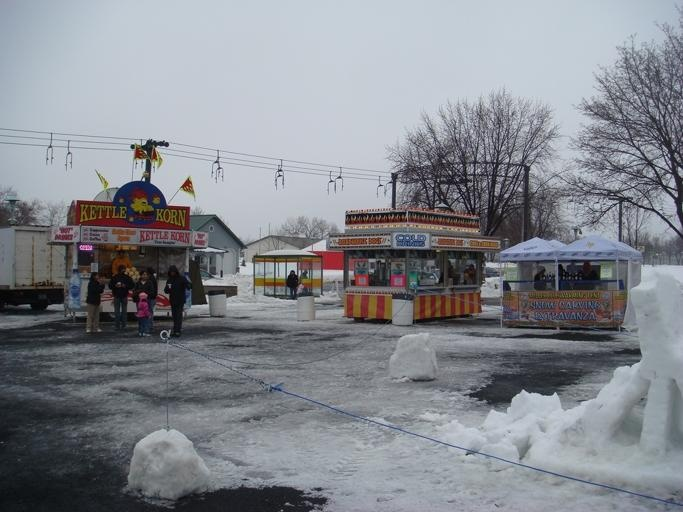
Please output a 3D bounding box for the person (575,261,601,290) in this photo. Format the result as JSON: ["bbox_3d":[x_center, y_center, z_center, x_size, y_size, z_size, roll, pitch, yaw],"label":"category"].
[{"bbox_3d":[8.744,0.649,21.469,0.784,1.027,2.247,0,-2,21],"label":"person"}]

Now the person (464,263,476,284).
[{"bbox_3d":[5.552,0.741,25.890,0.237,0.859,1.130,-1,-2,36],"label":"person"}]

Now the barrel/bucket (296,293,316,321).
[{"bbox_3d":[-1.375,2.042,24.656,0.844,1.006,0.853,0,5,0],"label":"barrel/bucket"}]

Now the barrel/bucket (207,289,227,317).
[{"bbox_3d":[-5.353,2.008,26.376,0.698,1.098,0.775,1,-2,-19],"label":"barrel/bucket"}]

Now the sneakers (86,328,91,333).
[{"bbox_3d":[-8.147,2.388,19.638,0.117,0.121,0.082,2,1,-34],"label":"sneakers"}]

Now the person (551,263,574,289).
[{"bbox_3d":[8.457,0.762,23.129,0.880,0.947,1.703,0,-6,18],"label":"person"}]

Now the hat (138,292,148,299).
[{"bbox_3d":[-6.141,1.212,18.911,0.184,0.223,0.323,1,-2,-7],"label":"hat"}]

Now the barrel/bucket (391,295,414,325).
[{"bbox_3d":[2.268,1.933,22.167,0.771,1.104,0.550,1,-1,1],"label":"barrel/bucket"}]

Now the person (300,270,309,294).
[{"bbox_3d":[-2.570,1.776,42.823,0.659,1.578,1.739,1,-2,-4],"label":"person"}]
